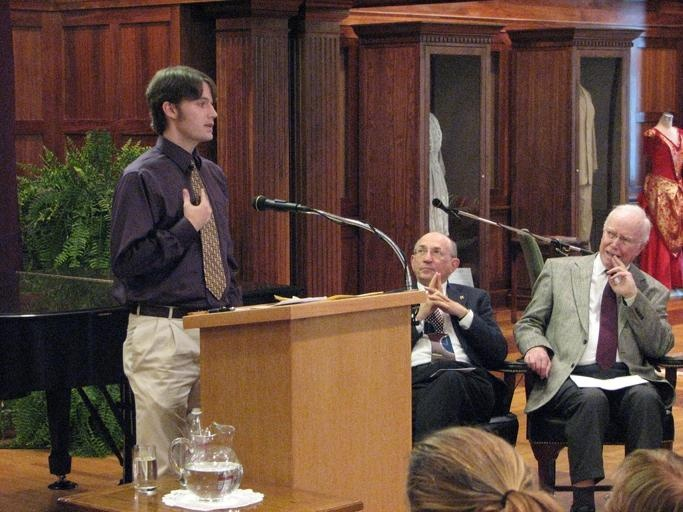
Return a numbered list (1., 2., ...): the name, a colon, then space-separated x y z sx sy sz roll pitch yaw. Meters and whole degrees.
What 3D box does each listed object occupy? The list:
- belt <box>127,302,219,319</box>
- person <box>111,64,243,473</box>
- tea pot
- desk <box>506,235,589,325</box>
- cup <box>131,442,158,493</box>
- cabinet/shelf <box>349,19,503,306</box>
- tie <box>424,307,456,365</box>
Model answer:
1. belt: -0.679 0.208 3.610 0.300 0.056 0.059 1 1 4
2. person: -0.635 0.046 3.654 0.520 1.598 0.401 1 1 -18
3. tea pot: -0.399 0.595 2.750 0.187 0.207 0.270 1 1 -14
4. desk: 1.781 0.185 8.399 0.694 0.871 0.688 7 -15 -22
5. cup: -0.603 0.658 2.876 0.076 0.143 0.078 -2 -7 0
6. cabinet/shelf: 0.790 -0.814 8.001 0.958 2.352 0.595 -6 10 -37
7. tie: 0.462 0.355 4.347 0.099 0.286 0.031 0 1 16
